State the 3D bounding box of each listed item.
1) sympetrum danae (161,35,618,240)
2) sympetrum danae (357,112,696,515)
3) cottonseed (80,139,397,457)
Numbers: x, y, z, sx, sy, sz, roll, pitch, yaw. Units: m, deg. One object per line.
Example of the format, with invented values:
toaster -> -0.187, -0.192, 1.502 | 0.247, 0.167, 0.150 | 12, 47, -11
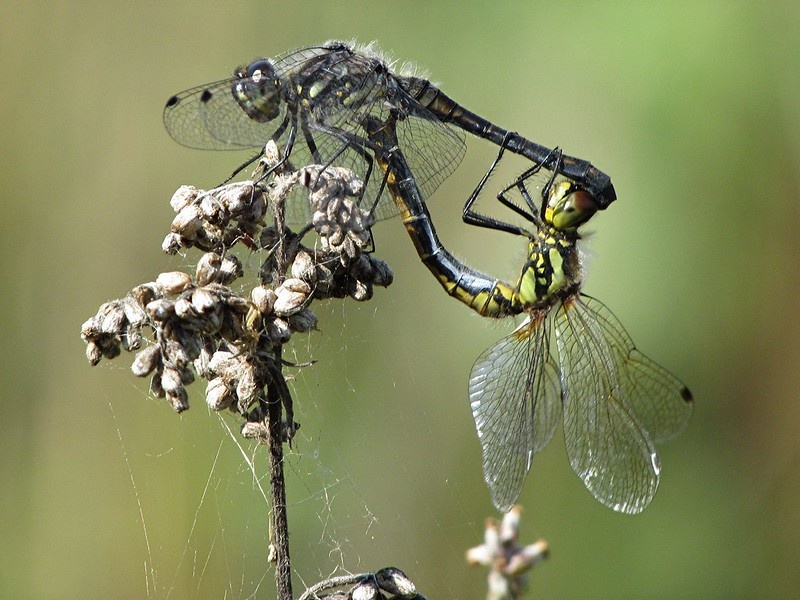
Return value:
sympetrum danae -> -0.010, -1.046, 5.707 | 1.591, 2.413, 1.647 | 8, -79, 20
sympetrum danae -> 0.976, 0.412, 6.127 | 2.126, 1.444, 3.162 | 7, -75, 25
cottonseed -> -0.689, -0.027, 4.569 | 0.954, 1.032, 1.844 | 10, -74, 43
